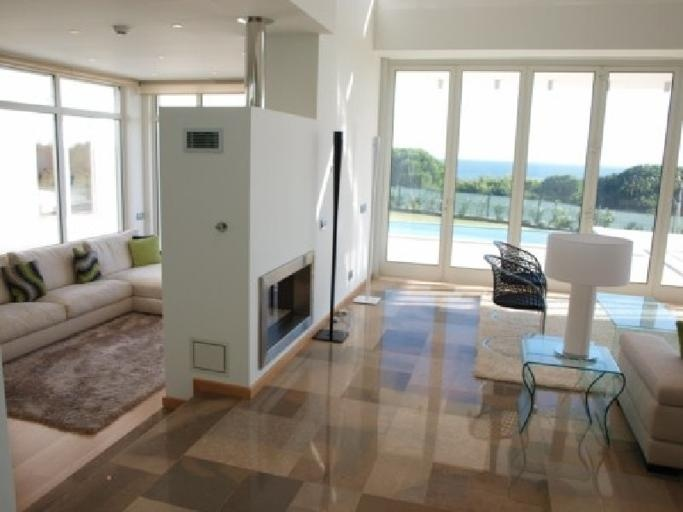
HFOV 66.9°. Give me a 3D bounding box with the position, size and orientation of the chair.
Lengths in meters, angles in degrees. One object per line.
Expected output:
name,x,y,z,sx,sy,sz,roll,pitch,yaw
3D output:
chair,2.172,0.493,6.612,0.931,1.344,1.258,2,18,17

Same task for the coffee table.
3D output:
coffee table,2.009,1.057,4.582,0.759,0.666,0.873,6,18,23

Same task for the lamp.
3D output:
lamp,2.090,0.324,4.483,0.648,1.002,0.562,3,14,17
